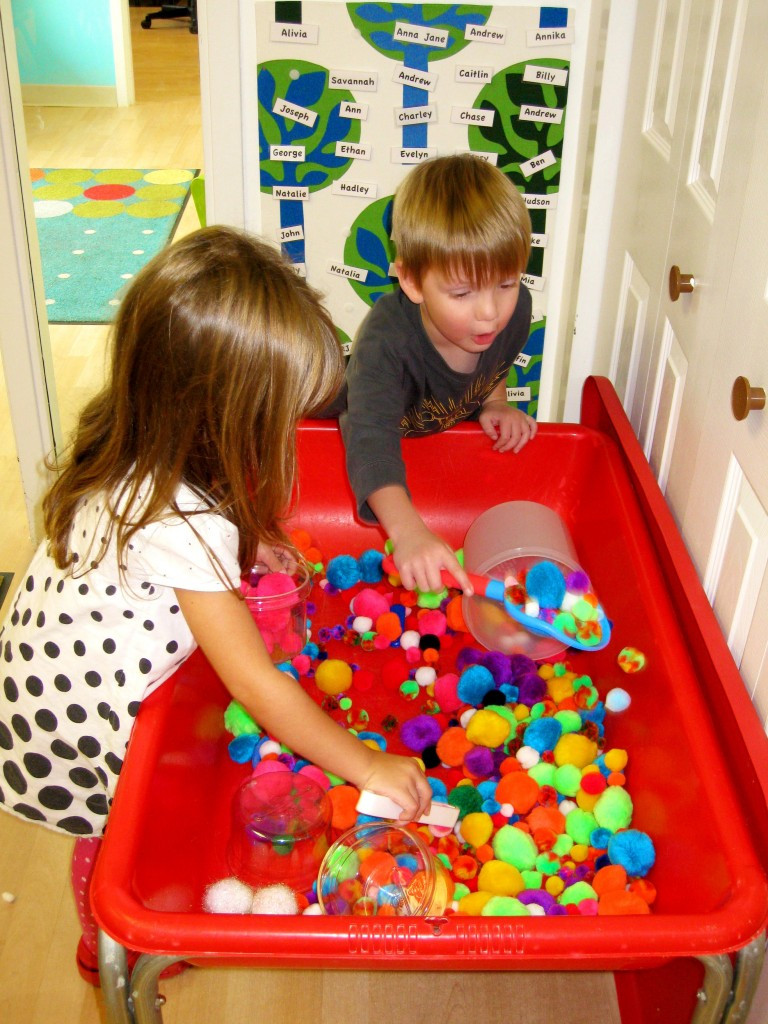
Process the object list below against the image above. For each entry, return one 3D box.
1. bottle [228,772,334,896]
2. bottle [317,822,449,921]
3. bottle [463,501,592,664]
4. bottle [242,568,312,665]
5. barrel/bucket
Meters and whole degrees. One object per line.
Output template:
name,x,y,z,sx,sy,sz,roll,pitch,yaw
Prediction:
bottle,-0.108,0.348,0.826,0.081,0.053,0.088,5,36,-3
bottle,-0.001,0.278,0.685,0.102,0.121,0.098,-2,-7,-5
bottle,0.187,0.121,1.186,0.190,0.215,0.202,2,33,-3
bottle,-0.126,0.131,1.019,0.097,0.108,0.112,-1,42,-2
barrel/bucket,0.160,0.090,1.163,0.197,0.211,0.195,13,33,-9
